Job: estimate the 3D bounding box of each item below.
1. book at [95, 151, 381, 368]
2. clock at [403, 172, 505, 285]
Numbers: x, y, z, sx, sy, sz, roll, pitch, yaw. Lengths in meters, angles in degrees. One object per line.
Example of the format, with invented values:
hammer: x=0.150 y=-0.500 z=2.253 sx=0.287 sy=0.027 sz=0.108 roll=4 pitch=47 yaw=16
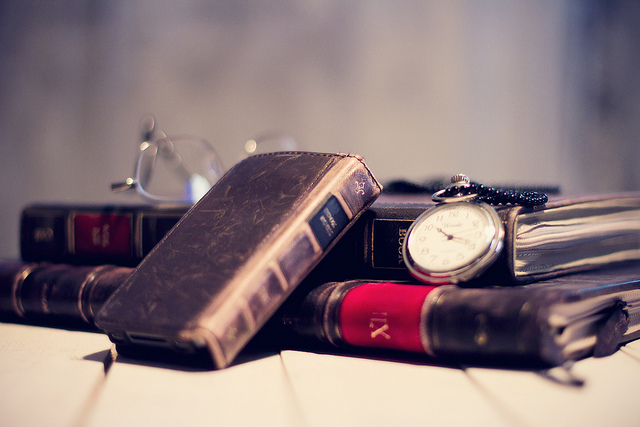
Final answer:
book: x=-0.183 y=0.081 z=1.469 sx=0.408 sy=0.118 sz=0.605 roll=-6 pitch=33 yaw=37
clock: x=0.284 y=0.029 z=1.442 sx=0.214 sy=0.085 sz=0.328 roll=-13 pitch=44 yaw=24
